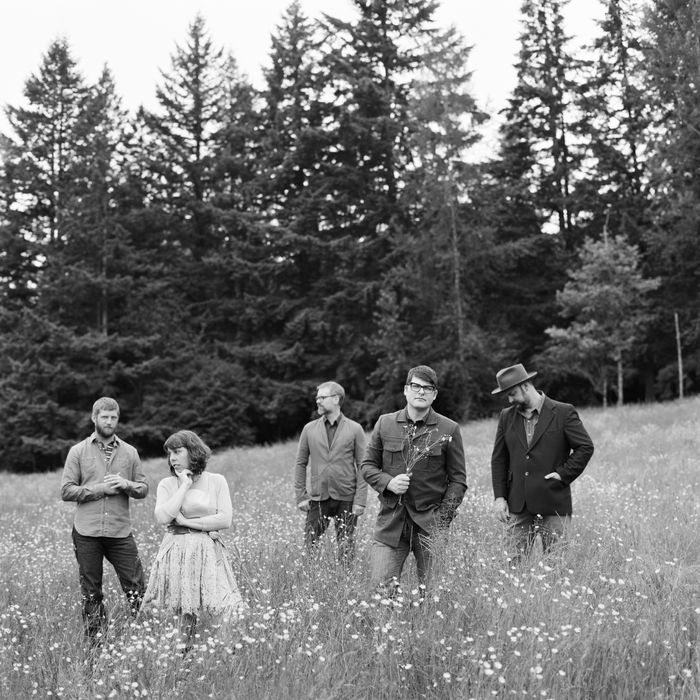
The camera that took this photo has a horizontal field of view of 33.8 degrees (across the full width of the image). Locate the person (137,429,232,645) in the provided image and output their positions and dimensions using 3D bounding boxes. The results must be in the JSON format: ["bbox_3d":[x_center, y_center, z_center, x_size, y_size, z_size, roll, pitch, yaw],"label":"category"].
[{"bbox_3d":[-1.525,1.829,11.189,0.763,2.186,0.749,-4,14,-21],"label":"person"}]

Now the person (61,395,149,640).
[{"bbox_3d":[-2.538,1.559,11.943,0.858,2.121,1.168,-2,7,-15],"label":"person"}]

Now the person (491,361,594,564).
[{"bbox_3d":[1.999,1.507,12.377,0.863,2.907,0.821,0,18,8],"label":"person"}]

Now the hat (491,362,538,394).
[{"bbox_3d":[1.736,0.225,12.114,0.413,0.178,0.371,-33,2,-34],"label":"hat"}]

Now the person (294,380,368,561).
[{"bbox_3d":[-0.211,1.700,13.756,0.685,2.731,0.551,-1,12,-3],"label":"person"}]

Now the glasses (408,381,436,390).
[{"bbox_3d":[0.720,0.356,11.387,0.286,0.108,0.134,-2,8,-12],"label":"glasses"}]

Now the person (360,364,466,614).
[{"bbox_3d":[0.630,1.647,11.566,0.899,3.062,0.784,3,8,7],"label":"person"}]
